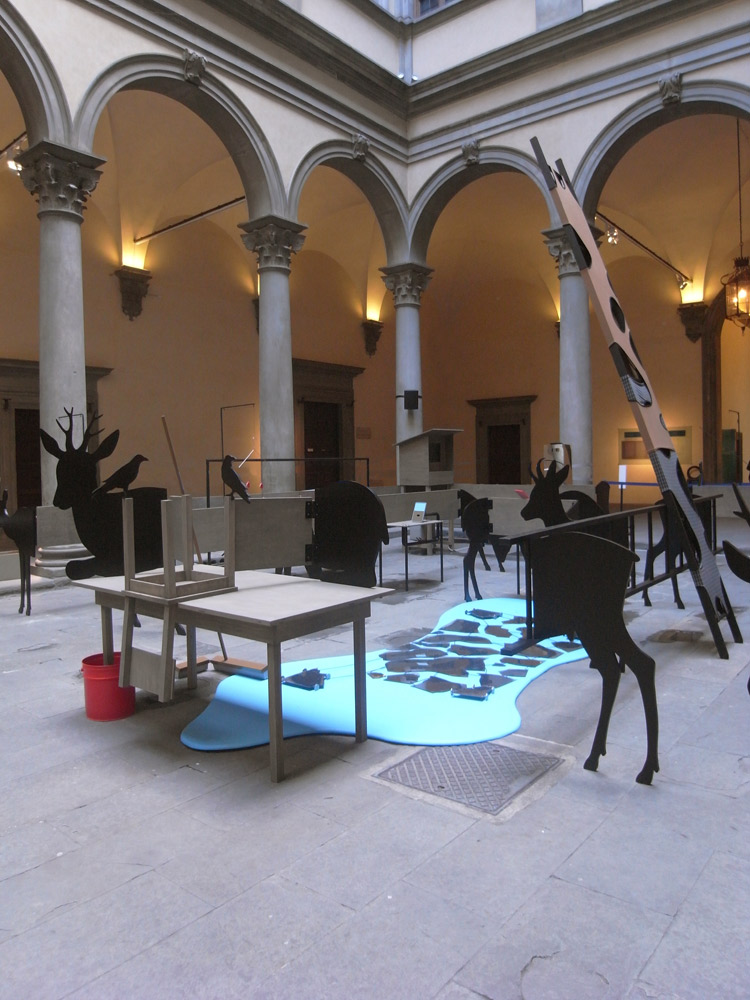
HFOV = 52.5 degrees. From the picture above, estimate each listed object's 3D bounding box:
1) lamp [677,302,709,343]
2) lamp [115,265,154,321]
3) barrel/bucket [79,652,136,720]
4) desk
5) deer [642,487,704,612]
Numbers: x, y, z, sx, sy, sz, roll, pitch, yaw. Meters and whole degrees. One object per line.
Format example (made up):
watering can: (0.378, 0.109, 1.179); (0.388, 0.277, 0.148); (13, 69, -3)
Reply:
lamp: (7.084, -3.918, 16.681); (0.579, 0.842, 0.436); (0, 1, 27)
lamp: (-4.487, -3.787, 13.839); (0.247, 0.912, 0.676); (0, 1, 37)
barrel/bucket: (-1.377, 0.940, 3.952); (0.276, 0.328, 0.294); (0, 4, 0)
desk: (-0.622, 0.731, 4.250); (2.083, 0.739, 1.758); (0, 1, 41)
deer: (2.553, 0.444, 6.524); (0.424, 0.980, 3.867); (-1, 1, 19)
